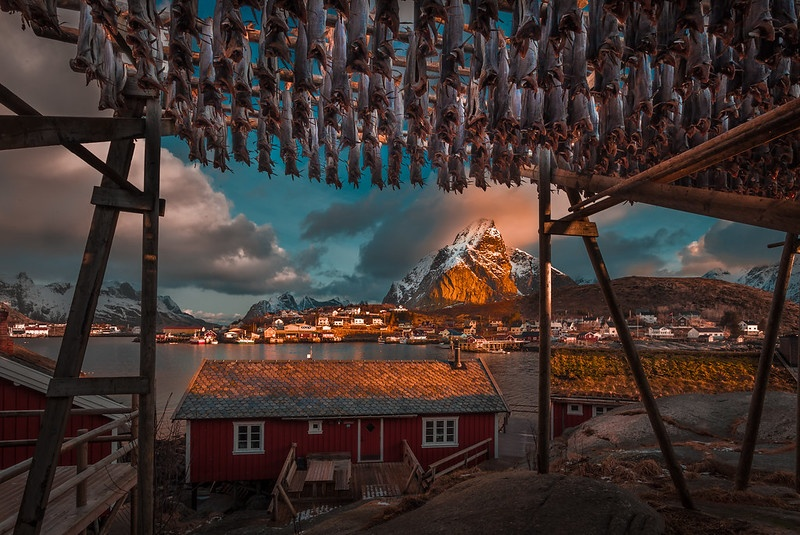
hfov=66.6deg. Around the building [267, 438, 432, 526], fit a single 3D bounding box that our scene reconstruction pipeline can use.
[{"bbox_3d":[-1.359,5.920,17.686,3.886,0.987,4.011,-1,-4,-7],"label":"building"}]
